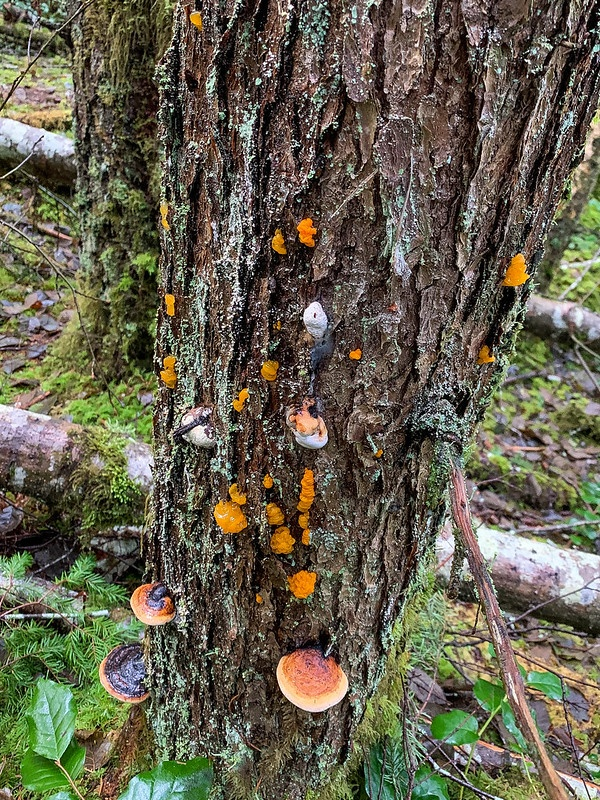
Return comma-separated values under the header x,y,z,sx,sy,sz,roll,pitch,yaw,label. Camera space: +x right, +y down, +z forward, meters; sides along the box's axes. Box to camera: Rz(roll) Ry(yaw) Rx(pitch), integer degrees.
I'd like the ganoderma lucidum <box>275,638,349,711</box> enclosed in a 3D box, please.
x,y,z,sx,sy,sz,roll,pitch,yaw,label
0.043,1.233,3.641,0.304,0.262,0.227,9,25,-2,ganoderma lucidum

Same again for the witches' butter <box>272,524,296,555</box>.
x,y,z,sx,sy,sz,roll,pitch,yaw,label
-0.078,0.572,3.474,0.099,0.106,0.028,-4,0,8,witches' butter

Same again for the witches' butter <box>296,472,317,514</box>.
x,y,z,sx,sy,sz,roll,pitch,yaw,label
0.029,0.375,3.415,0.064,0.198,0.026,10,24,1,witches' butter

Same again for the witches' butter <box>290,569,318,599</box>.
x,y,z,sx,sy,sz,roll,pitch,yaw,label
0.006,0.763,3.539,0.108,0.115,0.040,26,8,16,witches' butter

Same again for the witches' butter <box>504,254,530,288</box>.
x,y,z,sx,sy,sz,roll,pitch,yaw,label
0.866,-0.505,3.337,0.072,0.135,0.139,26,29,31,witches' butter

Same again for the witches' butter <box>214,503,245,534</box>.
x,y,z,sx,sy,sz,roll,pitch,yaw,label
-0.290,0.484,3.498,0.132,0.101,0.051,57,7,2,witches' butter

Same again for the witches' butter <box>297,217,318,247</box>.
x,y,z,sx,sy,sz,roll,pitch,yaw,label
0.024,-0.612,3.130,0.065,0.098,0.037,-23,17,11,witches' butter

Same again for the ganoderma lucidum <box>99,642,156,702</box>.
x,y,z,sx,sy,sz,roll,pitch,yaw,label
-0.872,1.324,4.224,0.240,0.319,0.295,4,26,-13,ganoderma lucidum
